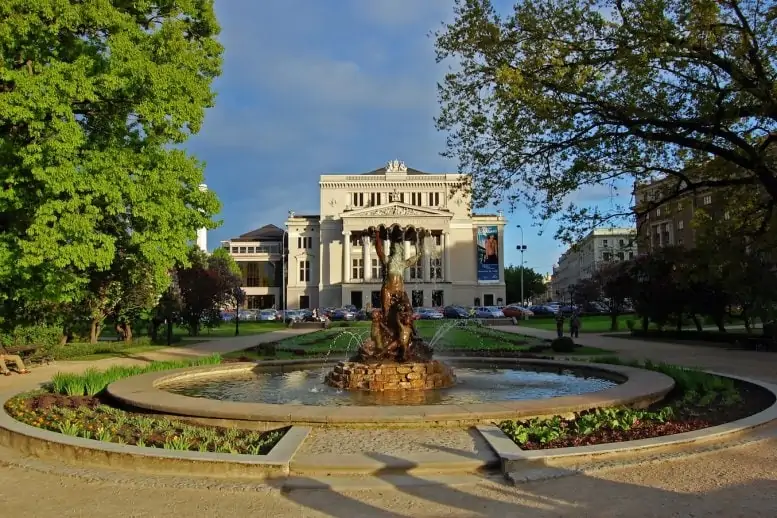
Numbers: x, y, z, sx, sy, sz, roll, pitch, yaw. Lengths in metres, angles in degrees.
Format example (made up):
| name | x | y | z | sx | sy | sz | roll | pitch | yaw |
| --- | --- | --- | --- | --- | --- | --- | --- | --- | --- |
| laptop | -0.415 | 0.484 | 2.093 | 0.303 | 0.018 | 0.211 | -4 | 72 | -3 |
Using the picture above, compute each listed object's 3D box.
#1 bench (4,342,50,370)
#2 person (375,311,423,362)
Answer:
| name | x | y | z | sx | sy | sz | roll | pitch | yaw |
| --- | --- | --- | --- | --- | --- | --- | --- | --- | --- |
| bench | -15.217 | 4.059 | 27.397 | 0.583 | 0.560 | 1.610 | -16 | -5 | -3 |
| person | 0.249 | 2.461 | 20.749 | 1.434 | 1.368 | 0.611 | -1 | -19 | -7 |
